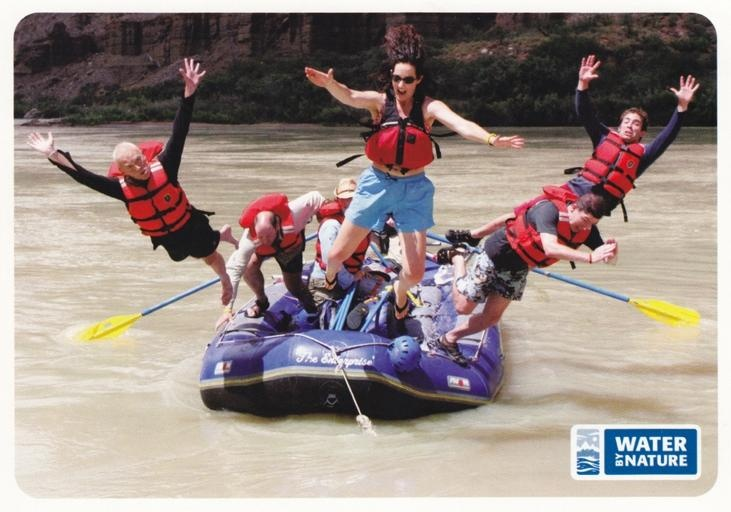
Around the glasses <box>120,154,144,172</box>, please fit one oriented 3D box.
[{"bbox_3d":[-2.607,-1.031,11.688,0.183,0.110,0.225,-20,-6,-13],"label":"glasses"}]

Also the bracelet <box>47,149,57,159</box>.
[{"bbox_3d":[-3.494,-1.122,11.595,0.072,0.066,0.106,-31,22,31],"label":"bracelet"}]

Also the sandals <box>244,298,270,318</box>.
[{"bbox_3d":[-1.303,0.657,12.853,0.356,0.159,0.142,-33,-13,-7],"label":"sandals"}]

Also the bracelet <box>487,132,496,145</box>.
[{"bbox_3d":[1.343,-1.227,11.079,0.132,0.051,0.113,-8,52,10],"label":"bracelet"}]

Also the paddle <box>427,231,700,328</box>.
[{"bbox_3d":[2.600,0.372,13.870,4.162,0.493,0.295,16,-3,8],"label":"paddle"}]

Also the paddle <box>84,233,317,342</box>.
[{"bbox_3d":[-2.208,0.488,14.051,3.755,0.240,0.401,-18,32,4],"label":"paddle"}]
